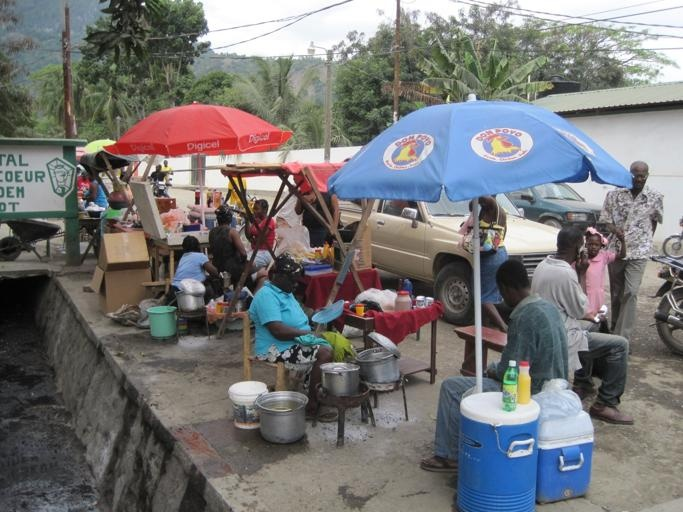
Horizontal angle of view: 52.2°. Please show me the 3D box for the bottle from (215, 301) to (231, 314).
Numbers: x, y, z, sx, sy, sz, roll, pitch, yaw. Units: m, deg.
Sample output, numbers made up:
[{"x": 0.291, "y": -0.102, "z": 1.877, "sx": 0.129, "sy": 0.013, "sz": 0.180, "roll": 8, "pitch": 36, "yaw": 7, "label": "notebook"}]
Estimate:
[{"x": -1.652, "y": 0.741, "z": 9.818, "sx": 0.119, "sy": 0.230, "sz": 0.227, "roll": -1, "pitch": -1, "yaw": 20, "label": "bottle"}]

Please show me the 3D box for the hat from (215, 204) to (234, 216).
[{"x": -1.770, "y": -0.679, "z": 10.424, "sx": 0.237, "sy": 0.176, "sz": 0.316, "roll": 5, "pitch": -1, "yaw": -41, "label": "hat"}]

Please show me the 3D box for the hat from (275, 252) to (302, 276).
[{"x": -0.593, "y": 0.101, "z": 7.723, "sx": 0.263, "sy": 0.214, "sz": 0.302, "roll": -1, "pitch": 11, "yaw": 2, "label": "hat"}]

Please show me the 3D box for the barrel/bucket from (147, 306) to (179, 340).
[{"x": -2.476, "y": 0.937, "z": 9.626, "sx": 0.402, "sy": 0.430, "sz": 0.424, "roll": 0, "pitch": 2, "yaw": 0, "label": "barrel/bucket"}]

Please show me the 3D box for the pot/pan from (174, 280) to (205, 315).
[{"x": -2.214, "y": 0.575, "z": 9.857, "sx": 0.400, "sy": 0.418, "sz": 0.426, "roll": 3, "pitch": -6, "yaw": -40, "label": "pot/pan"}]

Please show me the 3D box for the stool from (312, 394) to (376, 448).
[{"x": 0.032, "y": 1.725, "z": 7.440, "sx": 0.530, "sy": 0.429, "sz": 0.550, "roll": -1, "pitch": 0, "yaw": 41, "label": "stool"}]

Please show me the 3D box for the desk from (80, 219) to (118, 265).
[{"x": -4.429, "y": -0.251, "z": 12.750, "sx": 0.856, "sy": 0.869, "sz": 0.876, "roll": 2, "pitch": 3, "yaw": 17, "label": "desk"}]

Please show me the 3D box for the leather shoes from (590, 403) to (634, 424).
[{"x": 2.964, "y": 1.758, "z": 7.689, "sx": 0.421, "sy": 0.200, "sz": 0.206, "roll": 3, "pitch": 4, "yaw": 12, "label": "leather shoes"}]

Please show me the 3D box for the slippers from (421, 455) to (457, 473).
[{"x": 0.953, "y": 2.021, "z": 6.856, "sx": 0.373, "sy": 0.156, "sz": 0.138, "roll": 2, "pitch": 4, "yaw": 20, "label": "slippers"}]

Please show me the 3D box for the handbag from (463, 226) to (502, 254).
[{"x": 1.962, "y": -0.214, "z": 9.557, "sx": 0.446, "sy": 0.246, "sz": 0.524, "roll": -1, "pitch": 12, "yaw": -2, "label": "handbag"}]

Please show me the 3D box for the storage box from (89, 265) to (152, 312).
[{"x": -3.288, "y": 0.493, "z": 10.524, "sx": 0.893, "sy": 0.639, "sz": 0.660, "roll": -3, "pitch": 10, "yaw": -34, "label": "storage box"}]

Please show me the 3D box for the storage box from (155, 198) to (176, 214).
[{"x": -3.218, "y": -0.896, "z": 12.683, "sx": 0.259, "sy": 0.334, "sz": 0.489, "roll": 3, "pitch": 9, "yaw": 25, "label": "storage box"}]

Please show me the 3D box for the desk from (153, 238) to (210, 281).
[{"x": -2.331, "y": 0.022, "z": 10.359, "sx": 0.623, "sy": 0.850, "sz": 0.611, "roll": 4, "pitch": 8, "yaw": 32, "label": "desk"}]

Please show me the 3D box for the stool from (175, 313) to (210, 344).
[{"x": -2.169, "y": 1.022, "z": 10.123, "sx": 0.483, "sy": 0.388, "sz": 0.361, "roll": 0, "pitch": 0, "yaw": -18, "label": "stool"}]

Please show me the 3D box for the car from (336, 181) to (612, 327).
[{"x": 1.864, "y": -0.162, "z": 11.428, "sx": 1.904, "sy": 1.625, "sz": 3.467, "roll": -4, "pitch": 9, "yaw": -38, "label": "car"}]

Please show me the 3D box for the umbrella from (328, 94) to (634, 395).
[{"x": 1.117, "y": -0.434, "z": 7.210, "sx": 2.572, "sy": 2.831, "sz": 2.713, "roll": -4, "pitch": 8, "yaw": -18, "label": "umbrella"}]

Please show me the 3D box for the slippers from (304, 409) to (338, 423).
[{"x": -0.233, "y": 1.766, "z": 7.667, "sx": 0.370, "sy": 0.103, "sz": 0.144, "roll": 0, "pitch": 13, "yaw": -4, "label": "slippers"}]

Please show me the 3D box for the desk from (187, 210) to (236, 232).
[{"x": -2.416, "y": -0.622, "z": 12.339, "sx": 0.564, "sy": 0.275, "sz": 0.730, "roll": -1, "pitch": 1, "yaw": -23, "label": "desk"}]

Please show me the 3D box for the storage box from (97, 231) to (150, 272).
[{"x": -3.256, "y": -0.064, "z": 10.528, "sx": 0.626, "sy": 0.565, "sz": 0.629, "roll": -4, "pitch": 11, "yaw": -23, "label": "storage box"}]

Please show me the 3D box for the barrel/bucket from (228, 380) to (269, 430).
[{"x": -0.993, "y": 1.608, "z": 7.563, "sx": 0.430, "sy": 0.385, "sz": 0.452, "roll": 2, "pitch": 3, "yaw": 0, "label": "barrel/bucket"}]
